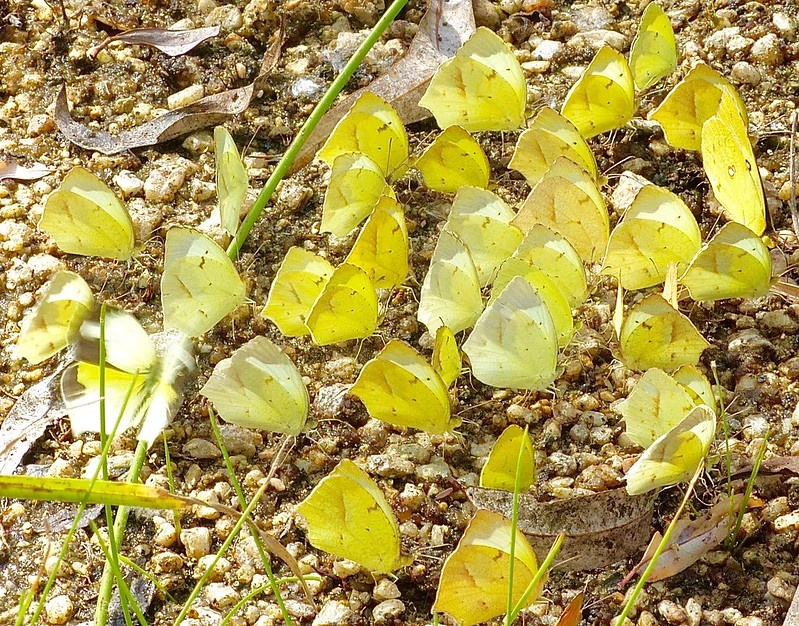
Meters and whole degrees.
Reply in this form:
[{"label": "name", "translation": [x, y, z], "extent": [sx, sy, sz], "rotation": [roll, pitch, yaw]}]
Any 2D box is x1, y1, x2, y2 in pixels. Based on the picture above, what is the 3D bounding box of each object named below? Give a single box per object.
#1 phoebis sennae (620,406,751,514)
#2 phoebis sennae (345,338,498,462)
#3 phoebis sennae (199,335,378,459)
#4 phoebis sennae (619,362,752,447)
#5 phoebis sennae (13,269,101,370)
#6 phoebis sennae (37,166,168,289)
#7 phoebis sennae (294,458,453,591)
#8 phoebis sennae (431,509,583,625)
[{"label": "phoebis sennae", "translation": [0.960, 0.533, 3.410], "extent": [0.301, 0.308, 0.238], "rotation": [-27, 90, 26]}, {"label": "phoebis sennae", "translation": [0.036, 0.313, 3.688], "extent": [0.459, 0.302, 0.264], "rotation": [10, 88, 23]}, {"label": "phoebis sennae", "translation": [-0.510, 0.278, 3.650], "extent": [0.372, 0.201, 0.382], "rotation": [-9, 63, -33]}, {"label": "phoebis sennae", "translation": [0.968, 0.313, 3.523], "extent": [0.321, 0.274, 0.265], "rotation": [-7, 89, -26]}, {"label": "phoebis sennae", "translation": [-1.302, 0.042, 3.818], "extent": [0.087, 0.239, 0.165], "rotation": [-47, 46, 4]}, {"label": "phoebis sennae", "translation": [-1.214, -0.356, 4.134], "extent": [0.408, 0.296, 0.244], "rotation": [23, 99, -14]}, {"label": "phoebis sennae", "translation": [-0.089, 0.656, 3.372], "extent": [0.359, 0.366, 0.251], "rotation": [40, 92, 4]}, {"label": "phoebis sennae", "translation": [0.331, 0.806, 3.236], "extent": [0.368, 0.390, 0.255], "rotation": [-15, 86, 7]}]
